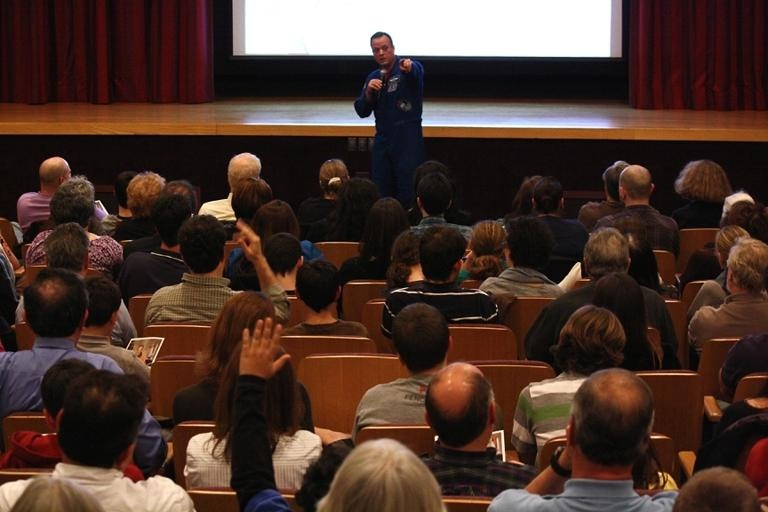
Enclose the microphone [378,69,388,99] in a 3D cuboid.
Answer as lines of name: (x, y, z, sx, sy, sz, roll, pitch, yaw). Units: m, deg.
microphone: (0.000, -1.615, 7.092, 0.071, 0.235, 0.135, -3, 5, -27)
